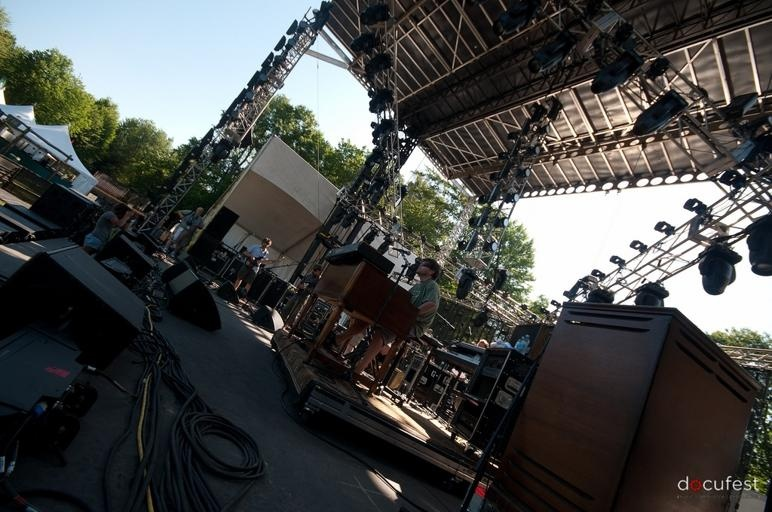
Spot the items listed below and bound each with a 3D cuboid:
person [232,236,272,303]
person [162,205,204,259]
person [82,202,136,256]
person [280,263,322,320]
[{"bbox_3d":[-3.628,0.390,12.684,0.684,1.953,0.606,43,-31,-16],"label":"person"},{"bbox_3d":[-5.898,-0.665,13.578,0.533,1.651,0.493,7,-5,44],"label":"person"},{"bbox_3d":[-4.696,-0.482,7.873,0.988,1.119,0.469,2,0,-13],"label":"person"},{"bbox_3d":[-1.644,0.669,9.119,0.484,1.004,0.183,27,-9,-25],"label":"person"}]
